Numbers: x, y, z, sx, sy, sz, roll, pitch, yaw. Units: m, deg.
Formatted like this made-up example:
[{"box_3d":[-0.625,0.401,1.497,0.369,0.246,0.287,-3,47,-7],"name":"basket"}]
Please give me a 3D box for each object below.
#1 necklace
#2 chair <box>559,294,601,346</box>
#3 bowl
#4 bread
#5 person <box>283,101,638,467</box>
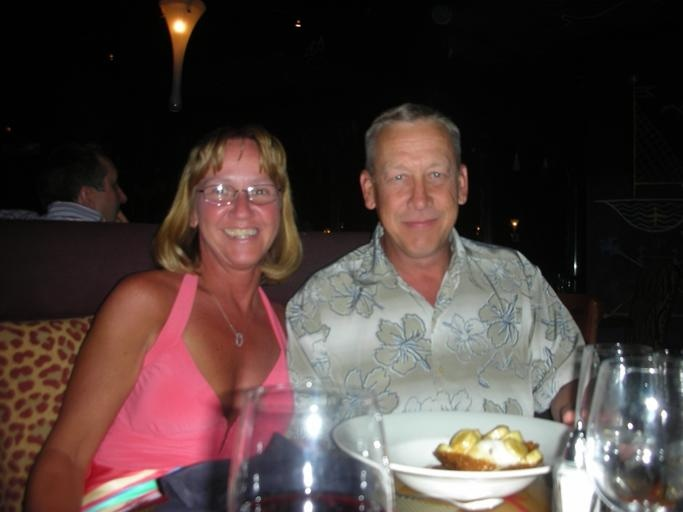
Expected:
[{"box_3d":[-0.384,0.205,1.934,0.083,0.275,0.033,-25,-19,-37],"name":"necklace"},{"box_3d":[1.181,0.299,2.796,0.206,0.317,0.247,1,-1,26],"name":"chair"},{"box_3d":[0.264,0.403,1.162,0.277,0.098,0.311,1,-6,1],"name":"bowl"},{"box_3d":[0.289,0.391,1.136,0.206,0.063,0.124,4,-3,8],"name":"bread"},{"box_3d":[0.322,0.094,2.200,1.156,1.258,0.639,-2,-3,-5],"name":"person"}]
